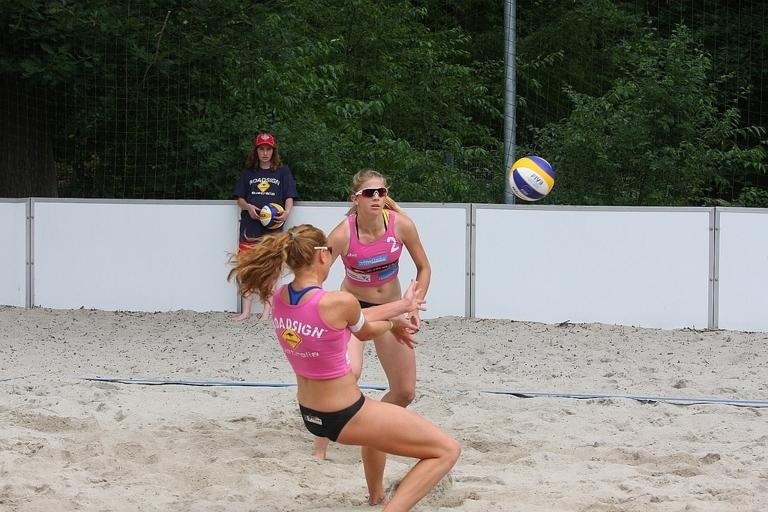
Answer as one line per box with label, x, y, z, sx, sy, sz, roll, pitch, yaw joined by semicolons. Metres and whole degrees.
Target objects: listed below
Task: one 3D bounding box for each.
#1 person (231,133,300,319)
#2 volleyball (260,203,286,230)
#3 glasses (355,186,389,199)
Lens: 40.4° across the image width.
person;-1.677;-0.324;14.608;0.796;2.770;0.807;0;1;-1
volleyball;-1.535;-0.580;14.244;0.299;0.307;0.310;1;39;-21
glasses;-0.129;-0.666;10.455;0.337;0.117;0.146;1;3;-10
